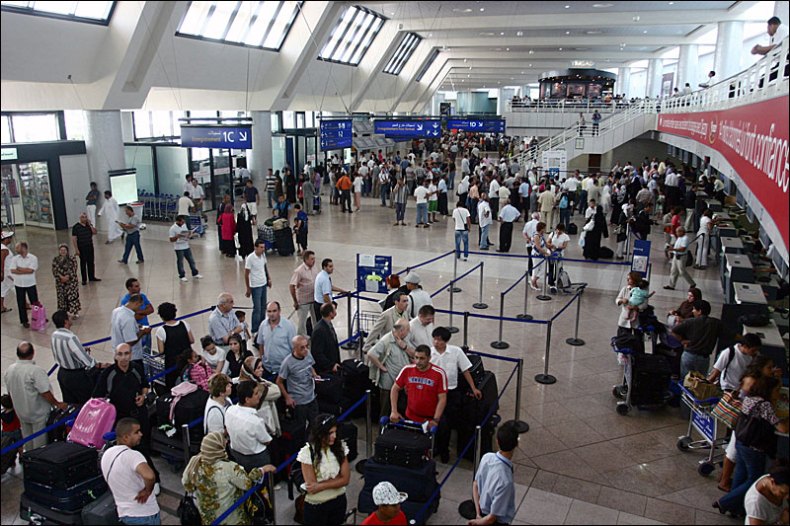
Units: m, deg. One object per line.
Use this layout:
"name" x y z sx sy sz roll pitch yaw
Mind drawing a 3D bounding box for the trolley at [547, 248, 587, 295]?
"trolley" 4.542 0.162 14.824 1.165 1.353 0.985 0 18 22

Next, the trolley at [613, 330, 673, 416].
"trolley" 4.488 1.990 10.073 1.218 1.219 1.247 1 7 7

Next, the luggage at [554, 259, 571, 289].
"luggage" 4.364 0.321 14.695 0.290 0.714 0.610 0 19 23

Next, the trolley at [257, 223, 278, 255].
"trolley" -4.109 -0.769 17.471 0.811 0.983 0.877 2 6 15

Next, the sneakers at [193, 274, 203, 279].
"sneakers" -5.476 0.354 15.393 0.244 0.102 0.316 -4 8 -21

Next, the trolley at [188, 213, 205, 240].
"trolley" -7.315 -1.340 19.889 0.504 0.782 0.779 4 23 2

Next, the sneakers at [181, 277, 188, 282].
"sneakers" -5.689 0.446 15.085 0.207 0.104 0.208 4 9 36

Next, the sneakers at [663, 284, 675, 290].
"sneakers" 7.190 0.638 14.708 0.275 0.123 0.318 2 8 25

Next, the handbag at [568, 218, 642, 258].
"handbag" 6.589 -0.737 17.497 1.563 1.564 0.457 2 45 13

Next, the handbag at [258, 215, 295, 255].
"handbag" -3.710 -0.804 17.269 0.959 1.200 0.432 1 7 17

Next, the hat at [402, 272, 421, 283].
"hat" 0.302 0.299 10.997 0.283 0.151 0.375 2 20 1
